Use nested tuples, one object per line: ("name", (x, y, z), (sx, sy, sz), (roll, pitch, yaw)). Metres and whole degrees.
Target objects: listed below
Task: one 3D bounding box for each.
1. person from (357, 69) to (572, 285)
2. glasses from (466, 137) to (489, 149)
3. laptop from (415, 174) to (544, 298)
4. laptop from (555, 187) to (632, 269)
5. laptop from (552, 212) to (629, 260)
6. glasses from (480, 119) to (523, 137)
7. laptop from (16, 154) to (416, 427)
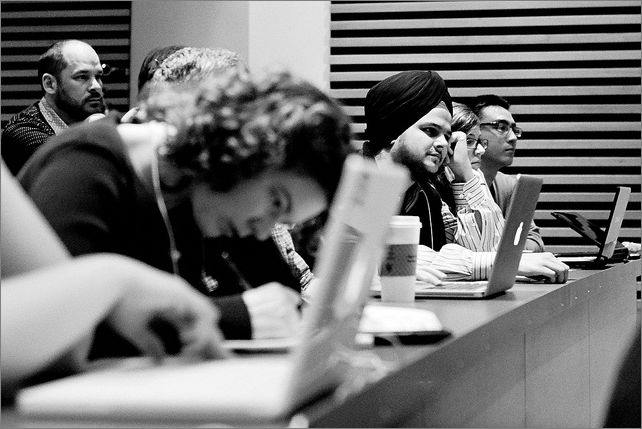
("person", (0.391, -0.154, 2.324), (0.844, 0.714, 0.571), (-1, 2, 9))
("glasses", (0.751, -0.353, 3.170), (0.111, 0.033, 0.109), (0, -1, 19))
("laptop", (0.387, 0.069, 1.649), (0.282, 0.236, 0.357), (-2, -2, 24))
("laptop", (1.177, 0.097, 2.806), (0.314, 0.377, 0.557), (-1, 1, 24))
("laptop", (1.196, 0.068, 2.941), (0.242, 0.232, 0.390), (-9, 0, 21))
("glasses", (0.990, -0.479, 3.723), (0.132, 0.041, 0.133), (11, -5, -43))
("laptop", (-0.101, 0.110, 0.744), (0.310, 0.208, 0.344), (-1, -7, 15))
